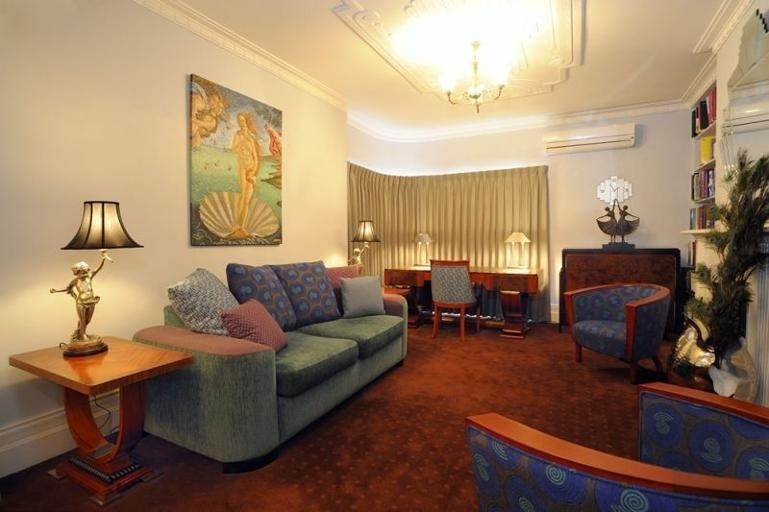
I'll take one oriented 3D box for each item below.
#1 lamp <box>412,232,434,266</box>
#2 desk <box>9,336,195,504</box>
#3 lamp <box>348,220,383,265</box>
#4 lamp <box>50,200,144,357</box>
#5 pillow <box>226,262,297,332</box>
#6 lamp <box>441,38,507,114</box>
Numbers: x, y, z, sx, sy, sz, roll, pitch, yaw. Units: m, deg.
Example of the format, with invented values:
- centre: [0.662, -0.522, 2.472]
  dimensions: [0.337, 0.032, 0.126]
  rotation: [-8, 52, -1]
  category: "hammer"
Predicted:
- centre: [0.590, -0.121, 7.747]
  dimensions: [0.293, 0.500, 0.526]
  rotation: [-3, 3, 3]
  category: "lamp"
- centre: [-1.968, 1.119, 3.814]
  dimensions: [1.297, 1.135, 1.010]
  rotation: [1, -1, 35]
  category: "desk"
- centre: [-0.265, -0.195, 6.651]
  dimensions: [0.529, 0.749, 0.539]
  rotation: [-2, 5, -1]
  category: "lamp"
- centre: [-2.178, 0.147, 3.878]
  dimensions: [0.560, 1.114, 0.620]
  rotation: [-5, 4, -39]
  category: "lamp"
- centre: [-1.071, 0.373, 4.430]
  dimensions: [0.288, 0.504, 0.571]
  rotation: [-6, -6, 23]
  category: "pillow"
- centre: [0.992, -1.945, 5.613]
  dimensions: [0.653, 0.889, 0.697]
  rotation: [-4, 7, -7]
  category: "lamp"
